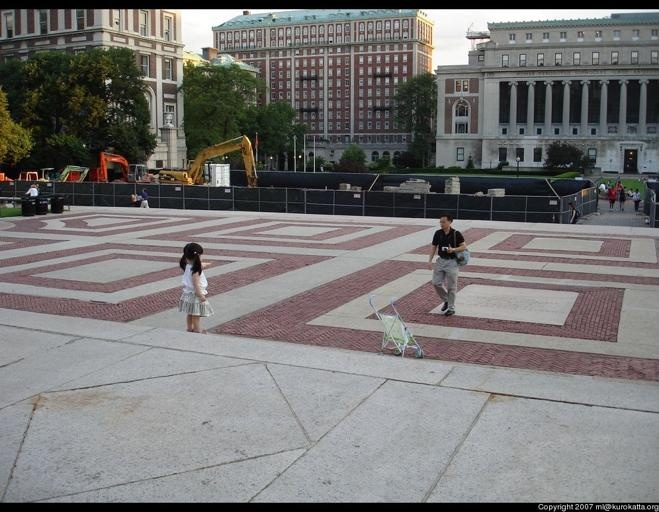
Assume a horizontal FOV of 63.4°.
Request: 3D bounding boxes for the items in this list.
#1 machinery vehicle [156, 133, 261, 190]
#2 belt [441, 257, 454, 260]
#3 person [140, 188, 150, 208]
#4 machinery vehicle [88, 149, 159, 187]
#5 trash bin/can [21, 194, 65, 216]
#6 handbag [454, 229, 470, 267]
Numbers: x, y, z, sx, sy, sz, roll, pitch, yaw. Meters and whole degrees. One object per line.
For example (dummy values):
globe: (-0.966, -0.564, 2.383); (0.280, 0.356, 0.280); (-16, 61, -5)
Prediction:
machinery vehicle: (-11.263, -8.061, 48.308); (9.044, 5.066, 2.644); (4, 6, 13)
belt: (2.649, 0.071, 12.005); (0.234, 0.048, 0.047); (0, 9, -2)
person: (-13.897, -4.225, 39.696); (0.574, 1.376, 1.795); (-3, 10, -19)
machinery vehicle: (-25.750, -10.830, 64.514); (7.010, 3.758, 24.220); (-4, 10, -23)
trash bin/can: (-18.723, -3.259, 34.679); (1.793, 1.203, 2.974); (1, 9, 4)
handbag: (3.071, -0.134, 12.264); (0.244, 0.868, 0.771); (3, 10, 17)
